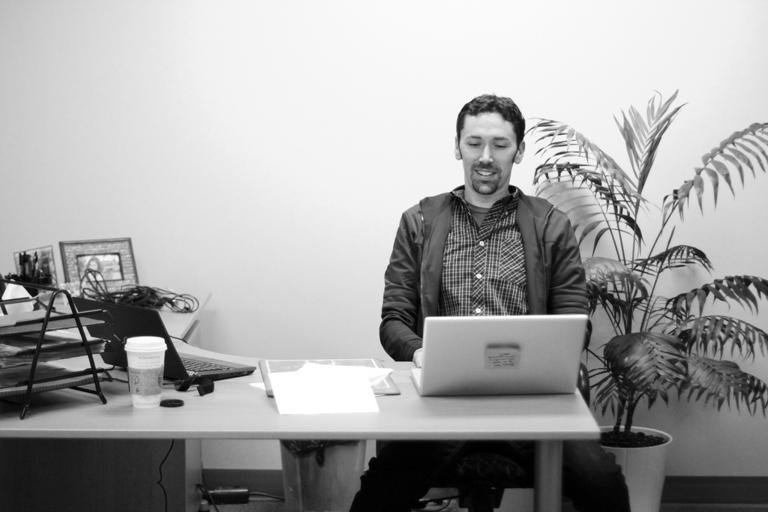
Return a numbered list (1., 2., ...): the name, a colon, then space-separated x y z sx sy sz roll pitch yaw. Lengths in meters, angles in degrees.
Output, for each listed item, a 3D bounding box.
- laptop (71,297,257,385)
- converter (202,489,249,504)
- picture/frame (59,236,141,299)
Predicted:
1. laptop: -0.675 0.194 1.758 0.370 0.220 0.345 4 6 40
2. converter: -0.777 1.188 2.794 0.190 0.065 0.090 1 0 -2
3. picture/frame: -1.366 0.059 2.705 0.320 0.306 0.032 -1 -21 -22
